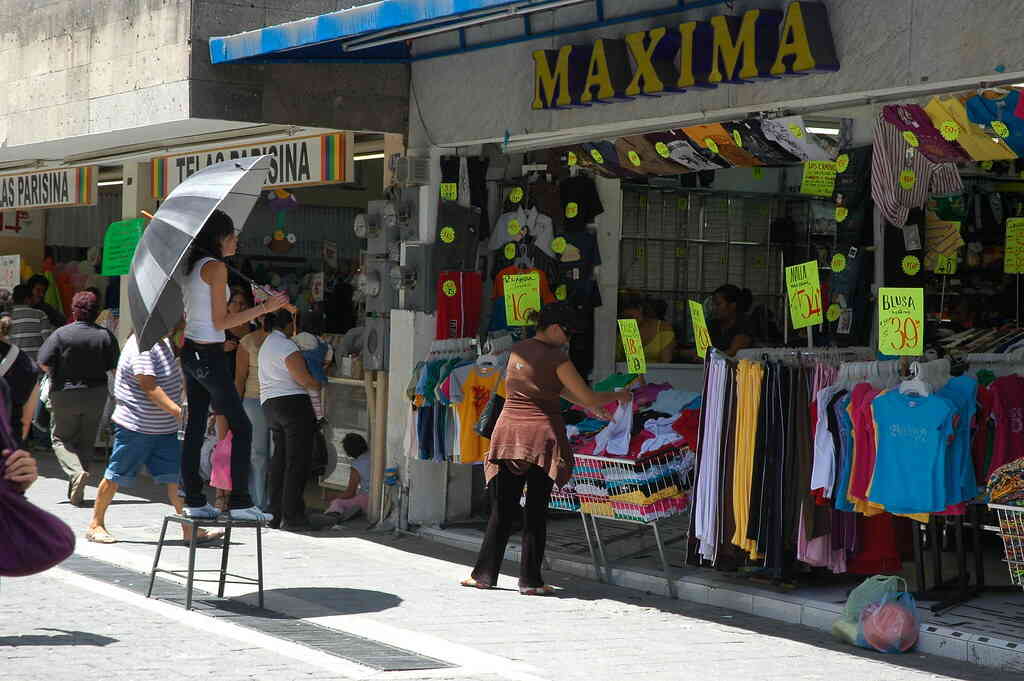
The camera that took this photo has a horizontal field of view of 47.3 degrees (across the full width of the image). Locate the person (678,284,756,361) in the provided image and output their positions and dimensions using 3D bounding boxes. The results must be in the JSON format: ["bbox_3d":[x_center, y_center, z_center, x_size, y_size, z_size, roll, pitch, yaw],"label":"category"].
[{"bbox_3d":[2.212,-0.147,12.080,0.511,0.781,0.841,-7,10,-21],"label":"person"}]

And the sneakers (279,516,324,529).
[{"bbox_3d":[-2.165,1.825,11.933,0.427,0.209,0.169,-1,-2,-12],"label":"sneakers"}]

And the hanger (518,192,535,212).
[{"bbox_3d":[0.163,-1.416,12.085,0.165,0.198,0.057,3,3,25],"label":"hanger"}]

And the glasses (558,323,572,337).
[{"bbox_3d":[0.449,-0.064,9.572,0.068,0.102,0.083,-9,-10,7],"label":"glasses"}]

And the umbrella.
[{"bbox_3d":[-2.471,-0.703,8.774,0.619,1.520,1.474,16,22,-4],"label":"umbrella"}]

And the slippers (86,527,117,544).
[{"bbox_3d":[-3.807,1.803,10.778,0.216,0.100,0.127,0,-1,22],"label":"slippers"}]

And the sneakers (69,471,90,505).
[{"bbox_3d":[-4.627,1.595,12.443,0.159,0.411,0.138,27,12,36],"label":"sneakers"}]

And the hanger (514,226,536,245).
[{"bbox_3d":[0.136,-1.067,12.078,0.113,0.187,0.060,3,13,8],"label":"hanger"}]

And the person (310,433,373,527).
[{"bbox_3d":[-1.782,1.517,12.773,0.598,0.989,0.592,1,3,14],"label":"person"}]

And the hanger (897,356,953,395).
[{"bbox_3d":[3.161,0.270,8.865,0.177,0.252,0.584,3,10,40],"label":"hanger"}]

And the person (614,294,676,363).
[{"bbox_3d":[1.471,-0.050,12.893,0.671,0.999,0.507,-2,-9,15],"label":"person"}]

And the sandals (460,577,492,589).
[{"bbox_3d":[-0.300,2.055,9.798,0.250,0.108,0.099,7,-4,5],"label":"sandals"}]

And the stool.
[{"bbox_3d":[-2.368,1.748,9.146,0.845,0.878,0.901,8,-5,-29],"label":"stool"}]

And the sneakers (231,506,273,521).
[{"bbox_3d":[-1.980,1.332,8.841,0.296,0.140,0.114,1,1,-10],"label":"sneakers"}]

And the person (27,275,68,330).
[{"bbox_3d":[-6.987,-0.539,17.396,0.565,0.924,0.290,-16,9,-9],"label":"person"}]

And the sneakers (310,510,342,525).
[{"bbox_3d":[-1.962,1.877,12.194,0.333,0.144,0.253,6,-3,-2],"label":"sneakers"}]

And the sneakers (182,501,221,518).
[{"bbox_3d":[-2.352,1.293,8.798,0.211,0.107,0.127,-1,-2,-3],"label":"sneakers"}]

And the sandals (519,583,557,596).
[{"bbox_3d":[0.210,2.074,9.715,0.219,0.103,0.124,-2,-3,-2],"label":"sandals"}]

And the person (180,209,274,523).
[{"bbox_3d":[-2.245,0.214,9.118,0.740,2.405,0.758,3,5,23],"label":"person"}]
